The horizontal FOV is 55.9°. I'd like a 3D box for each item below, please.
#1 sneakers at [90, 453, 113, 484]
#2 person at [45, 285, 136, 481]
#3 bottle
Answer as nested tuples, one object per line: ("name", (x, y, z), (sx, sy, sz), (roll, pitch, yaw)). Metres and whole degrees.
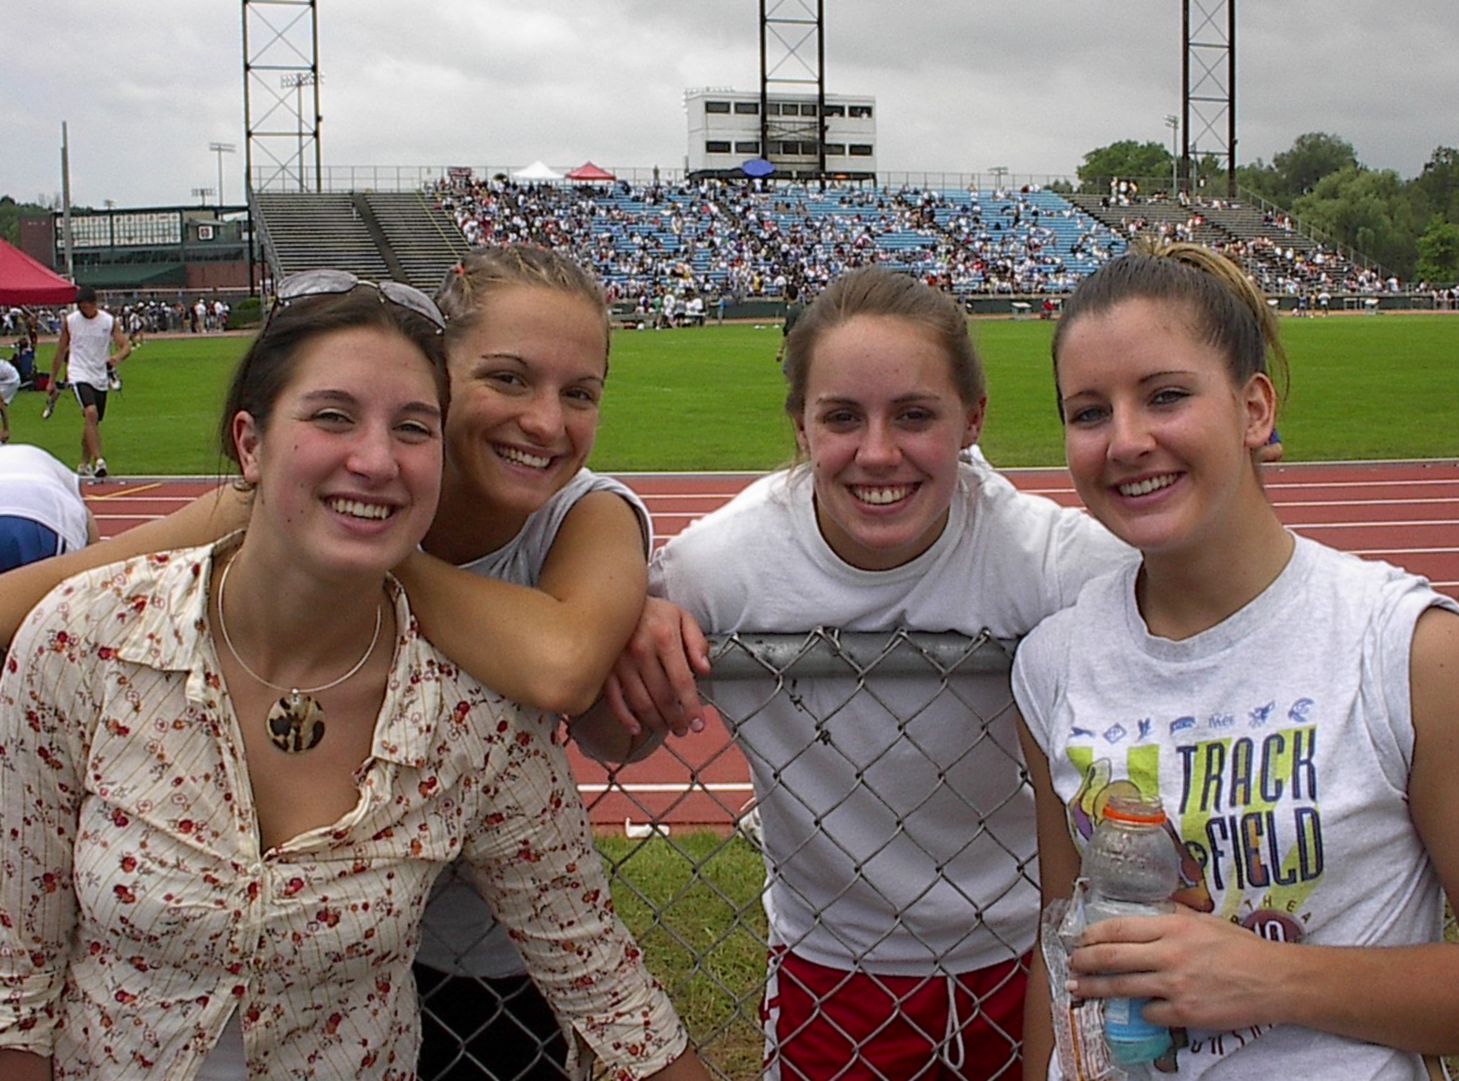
("sneakers", (-7.145, -0.808, 15.579), (0.195, 0.253, 0.518), (-4, 5, -19))
("person", (-7.475, -1.837, 16.174), (1.165, 2.215, 0.676), (6, 8, 33))
("bottle", (0.714, 0.709, 2.456), (0.171, 0.561, 0.207), (3, 8, 17))
